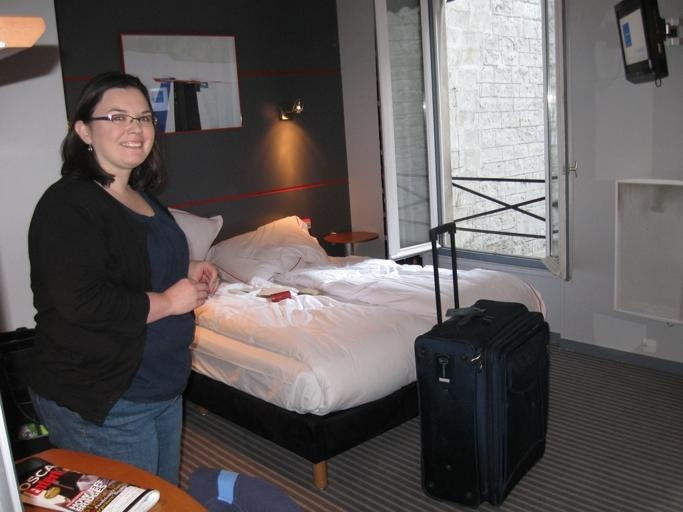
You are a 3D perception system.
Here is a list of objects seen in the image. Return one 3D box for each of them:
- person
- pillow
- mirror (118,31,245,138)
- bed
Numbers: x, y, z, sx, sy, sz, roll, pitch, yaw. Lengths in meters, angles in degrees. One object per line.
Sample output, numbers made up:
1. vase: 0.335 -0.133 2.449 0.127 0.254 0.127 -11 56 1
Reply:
1. person: -0.726 0.109 1.659 0.551 1.346 0.354 -15 17 -37
2. pillow: -0.755 -0.115 4.314 0.731 0.276 0.854 -25 32 -38
3. mirror: -1.334 -1.434 4.416 0.944 0.801 0.019 -16 32 -35
4. bed: 0.154 0.162 2.995 1.453 0.599 1.448 -22 26 -41
